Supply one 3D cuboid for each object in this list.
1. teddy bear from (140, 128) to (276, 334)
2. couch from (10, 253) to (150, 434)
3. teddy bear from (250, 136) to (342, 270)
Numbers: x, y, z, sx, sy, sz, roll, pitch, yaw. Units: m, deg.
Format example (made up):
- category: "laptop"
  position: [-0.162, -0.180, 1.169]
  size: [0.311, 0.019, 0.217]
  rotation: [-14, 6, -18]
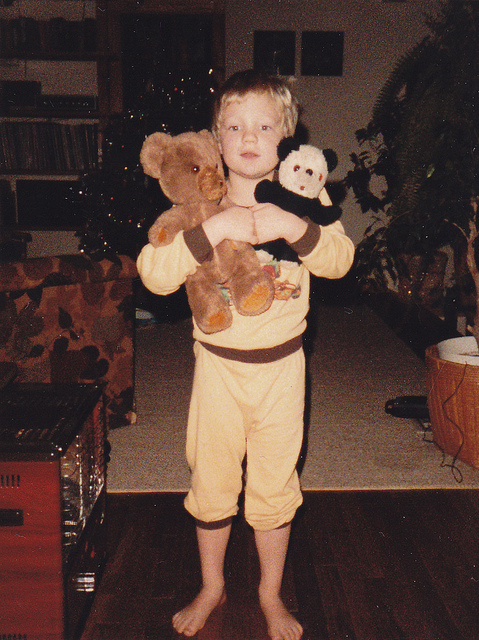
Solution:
- category: "teddy bear"
  position: [-0.051, -0.162, 1.055]
  size: [0.208, 0.336, 0.285]
  rotation: [-13, 21, -30]
- category: "couch"
  position: [-0.524, 0.082, 2.209]
  size: [0.516, 0.637, 0.539]
  rotation: [-3, -11, -2]
- category: "teddy bear"
  position: [0.110, -0.193, 1.060]
  size: [0.170, 0.221, 0.158]
  rotation: [-17, 39, -38]
